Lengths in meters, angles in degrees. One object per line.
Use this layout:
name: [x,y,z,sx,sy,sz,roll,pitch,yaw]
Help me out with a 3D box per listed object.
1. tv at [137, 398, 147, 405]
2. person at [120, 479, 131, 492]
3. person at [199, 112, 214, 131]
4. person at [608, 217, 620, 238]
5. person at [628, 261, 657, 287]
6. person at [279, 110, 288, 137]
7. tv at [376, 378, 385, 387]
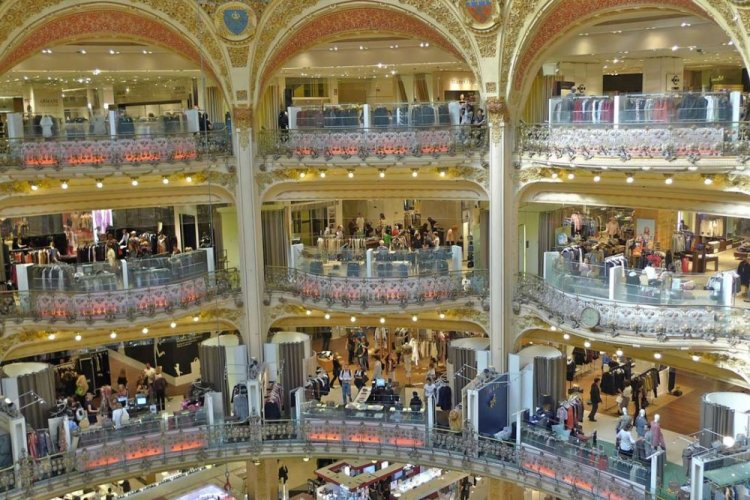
tv: [-9.616,6.243,28.591,0.402,0.261,0.213,-1,-19,-7]
person: [-10.648,10.026,29.590,0.414,0.474,1.086,-5,5,-22]
person: [-7.214,-5.473,29.670,0.351,0.851,0.916,-2,5,14]
person: [12.210,-1.077,35.582,0.652,0.844,0.339,2,-3,30]
person: [9.539,0.847,24.575,0.747,0.462,0.746,3,6,36]
person: [-3.971,-5.482,29.934,0.367,1.120,0.768,-5,5,-15]
tv: [0.216,5.604,29.361,0.335,0.327,0.203,-3,-23,-1]
